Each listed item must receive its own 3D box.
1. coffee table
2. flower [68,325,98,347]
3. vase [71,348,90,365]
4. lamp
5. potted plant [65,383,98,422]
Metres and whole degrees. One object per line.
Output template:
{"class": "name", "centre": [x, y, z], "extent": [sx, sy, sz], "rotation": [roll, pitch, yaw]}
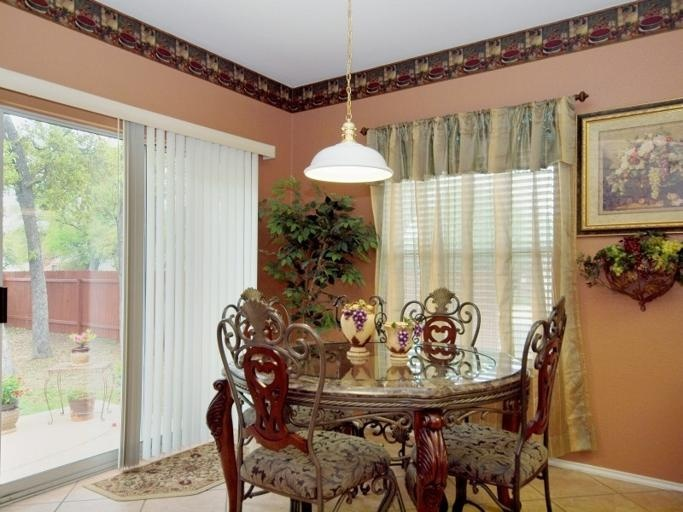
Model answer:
{"class": "coffee table", "centre": [-2.006, 0.984, 4.002], "extent": [0.389, 0.457, 0.479], "rotation": [-4, -5, 37]}
{"class": "flower", "centre": [-1.934, 0.602, 3.977], "extent": [0.129, 0.135, 0.124], "rotation": [0, 3, -27]}
{"class": "vase", "centre": [-1.946, 0.756, 3.960], "extent": [0.099, 0.087, 0.097], "rotation": [6, -8, -42]}
{"class": "lamp", "centre": [0.029, -1.203, 3.946], "extent": [0.572, 1.195, 1.459], "rotation": [-3, -1, 0]}
{"class": "potted plant", "centre": [-1.945, 1.116, 3.975], "extent": [0.201, 0.223, 0.224], "rotation": [0, -6, -6]}
